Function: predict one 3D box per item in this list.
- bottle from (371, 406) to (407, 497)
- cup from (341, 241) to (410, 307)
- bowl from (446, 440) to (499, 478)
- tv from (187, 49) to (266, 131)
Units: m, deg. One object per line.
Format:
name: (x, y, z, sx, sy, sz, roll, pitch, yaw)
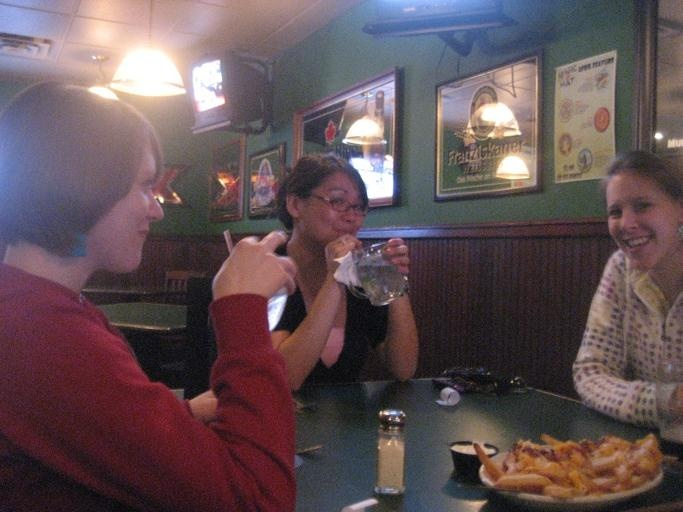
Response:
bottle: (0.108, 0.443, 1.223, 0.067, 0.154, 0.112, -1, 4, 8)
cup: (0.098, 0.058, 1.749, 0.192, 0.199, 0.191, -1, 4, 0)
bowl: (0.298, 0.495, 1.308, 0.123, 0.064, 0.126, 7, -7, 1)
tv: (-1.151, -1.604, 5.715, 0.765, 0.852, 0.796, 4, 5, 42)
